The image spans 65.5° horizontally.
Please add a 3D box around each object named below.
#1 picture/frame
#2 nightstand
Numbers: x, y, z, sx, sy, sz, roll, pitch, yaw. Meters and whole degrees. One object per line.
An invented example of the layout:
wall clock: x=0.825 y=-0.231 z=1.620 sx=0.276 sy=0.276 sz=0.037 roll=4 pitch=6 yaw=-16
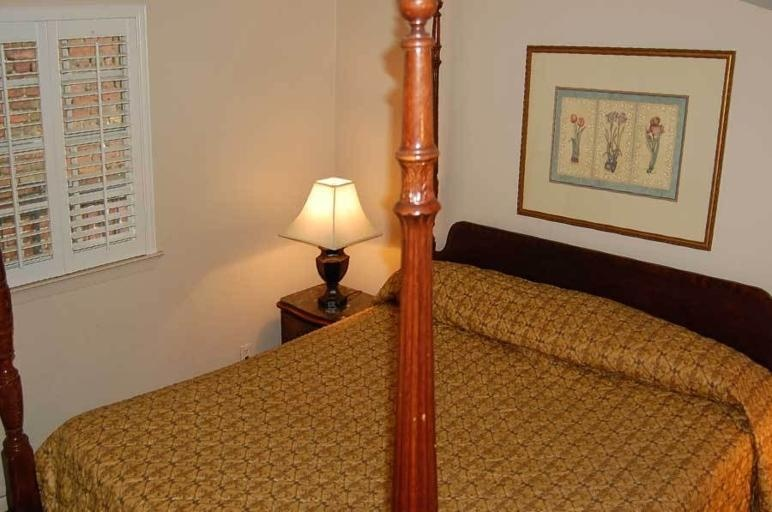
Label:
picture/frame: x=1.416 y=-0.640 z=3.421 sx=1.053 sy=0.975 sz=0.076 roll=14 pitch=23 yaw=35
nightstand: x=-0.414 y=0.340 z=4.182 sx=0.409 sy=0.536 sz=0.503 roll=19 pitch=30 yaw=36
